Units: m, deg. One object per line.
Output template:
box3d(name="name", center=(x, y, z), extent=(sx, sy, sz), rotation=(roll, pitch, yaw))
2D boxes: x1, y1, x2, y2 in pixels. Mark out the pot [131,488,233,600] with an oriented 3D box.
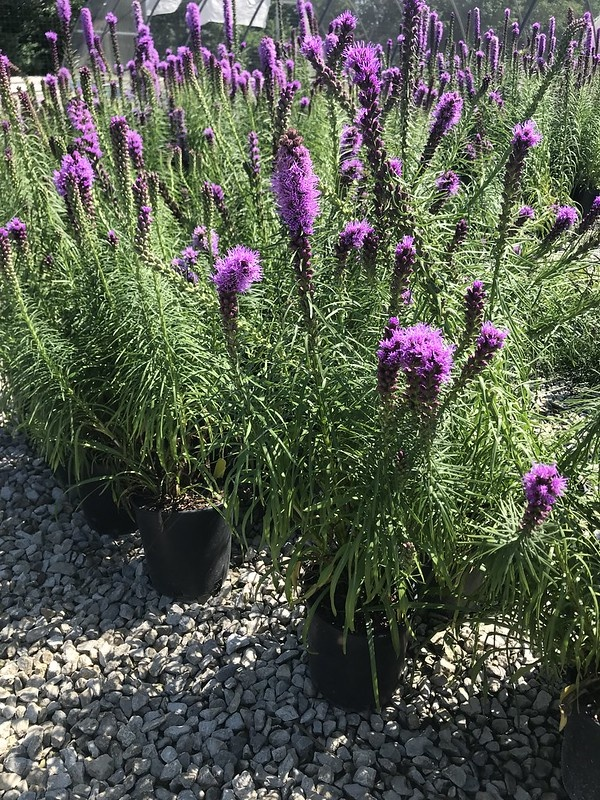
box3d(name="pot", center=(-0.395, 0.543, 2.204), extent=(0.347, 0.336, 0.395), rotation=(1, 7, 1))
